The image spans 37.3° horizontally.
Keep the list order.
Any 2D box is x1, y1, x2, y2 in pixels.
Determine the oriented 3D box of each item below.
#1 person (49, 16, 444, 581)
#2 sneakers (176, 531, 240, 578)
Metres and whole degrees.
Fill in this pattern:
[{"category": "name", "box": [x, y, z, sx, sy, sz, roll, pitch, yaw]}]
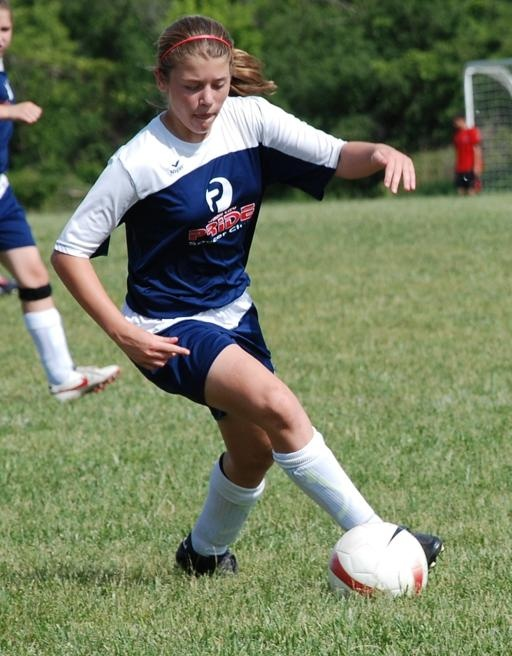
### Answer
[{"category": "person", "box": [0.000, -0.176, 2.390, 0.868, 1.546, 0.893, 15, 25, 41]}, {"category": "sneakers", "box": [-0.189, 0.844, 2.795, 0.304, 0.108, 0.096, 1, -7, 20]}]
